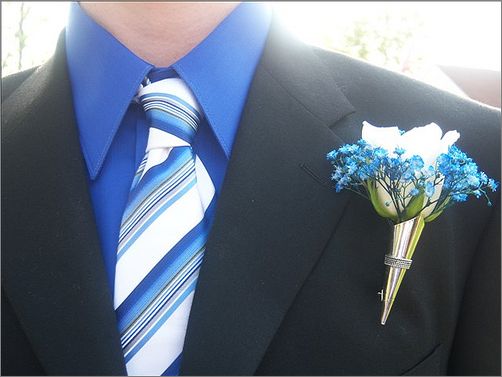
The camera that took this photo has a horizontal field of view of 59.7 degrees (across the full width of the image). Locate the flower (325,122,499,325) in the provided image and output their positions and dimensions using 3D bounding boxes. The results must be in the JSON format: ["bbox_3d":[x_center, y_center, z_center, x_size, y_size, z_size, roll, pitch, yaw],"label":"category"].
[{"bbox_3d":[0.529,0.128,1.491,0.526,0.702,0.281,-1,-4,10],"label":"flower"}]
